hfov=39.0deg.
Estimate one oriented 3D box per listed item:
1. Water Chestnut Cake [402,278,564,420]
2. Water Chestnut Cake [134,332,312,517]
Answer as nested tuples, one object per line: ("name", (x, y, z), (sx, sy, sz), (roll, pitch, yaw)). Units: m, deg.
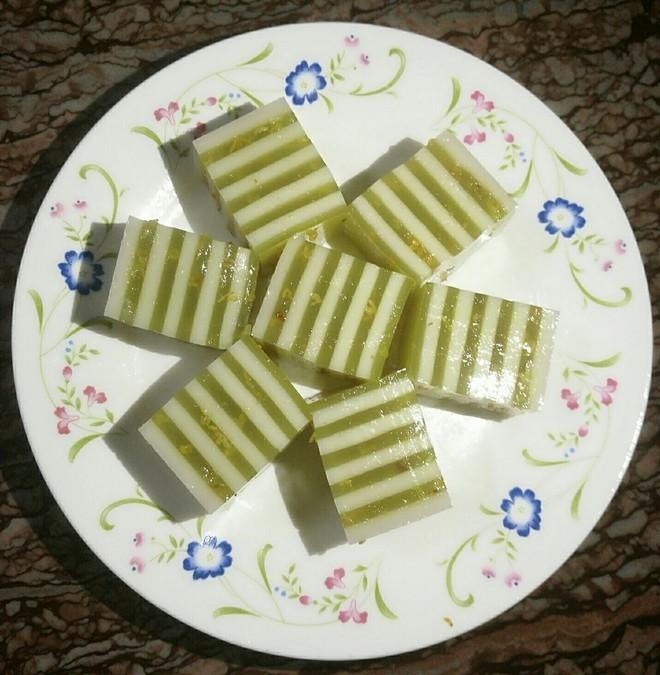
("Water Chestnut Cake", (0.548, 0.089, 3.393), (0.670, 0.305, 0.433), (12, 79, 1))
("Water Chestnut Cake", (-0.326, 0.335, 3.372), (0.490, 0.165, 0.620), (-43, 42, -3))
